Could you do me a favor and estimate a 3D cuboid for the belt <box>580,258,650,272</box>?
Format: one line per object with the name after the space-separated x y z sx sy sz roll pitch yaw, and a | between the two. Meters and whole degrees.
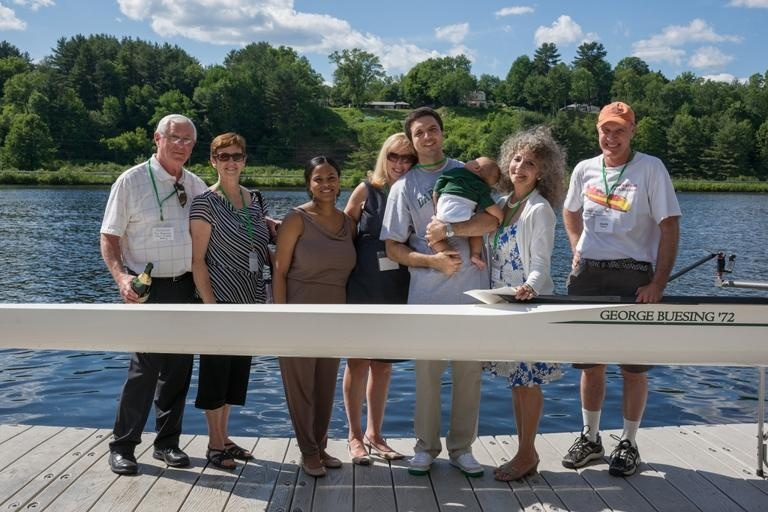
1.869 0.065 6.416 0.571 0.107 0.109 2 10 13 | belt

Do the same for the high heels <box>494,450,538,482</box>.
1.004 1.649 6.181 0.385 0.133 0.155 1 -2 -30 | high heels

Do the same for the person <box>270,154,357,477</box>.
-0.587 0.450 6.337 0.623 2.460 0.800 3 12 17 | person

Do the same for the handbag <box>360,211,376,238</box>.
-0.122 -0.264 6.449 0.172 0.258 0.184 0 -2 5 | handbag

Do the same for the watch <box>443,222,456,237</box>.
0.499 -0.198 6.026 0.069 0.101 0.030 -2 11 -8 | watch

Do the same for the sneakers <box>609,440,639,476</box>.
1.910 1.582 6.253 0.305 0.247 0.228 -1 10 -3 | sneakers

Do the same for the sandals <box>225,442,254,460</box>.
-1.179 1.588 6.412 0.258 0.065 0.103 13 23 27 | sandals

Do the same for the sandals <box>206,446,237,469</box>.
-1.298 1.611 6.328 0.119 0.099 0.269 -1 1 -41 | sandals

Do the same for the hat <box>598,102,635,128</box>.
1.921 -1.158 6.479 0.217 0.144 0.305 2 6 33 | hat

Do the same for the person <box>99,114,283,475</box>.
-1.840 0.267 6.344 0.794 2.759 1.050 1 11 4 | person

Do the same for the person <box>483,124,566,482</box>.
1.092 0.363 6.174 0.587 2.701 0.869 2 12 10 | person

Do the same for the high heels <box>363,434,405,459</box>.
0.003 1.581 6.582 0.405 0.178 0.138 1 -3 38 | high heels

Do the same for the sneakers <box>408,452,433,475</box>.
0.284 1.622 6.236 0.197 0.157 0.164 0 10 2 | sneakers

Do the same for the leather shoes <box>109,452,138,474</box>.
-2.031 1.616 6.177 0.200 0.147 0.168 -2 10 -13 | leather shoes

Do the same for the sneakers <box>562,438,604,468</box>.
1.595 1.566 6.373 0.372 0.213 0.168 -9 13 -41 | sneakers

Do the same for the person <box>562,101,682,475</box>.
1.903 0.237 6.426 0.915 2.947 1.261 -2 11 -10 | person

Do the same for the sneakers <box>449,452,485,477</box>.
0.649 1.636 6.206 0.129 0.105 0.261 -2 2 -33 | sneakers

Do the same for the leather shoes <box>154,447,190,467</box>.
-1.682 1.593 6.294 0.275 0.104 0.125 4 0 27 | leather shoes
